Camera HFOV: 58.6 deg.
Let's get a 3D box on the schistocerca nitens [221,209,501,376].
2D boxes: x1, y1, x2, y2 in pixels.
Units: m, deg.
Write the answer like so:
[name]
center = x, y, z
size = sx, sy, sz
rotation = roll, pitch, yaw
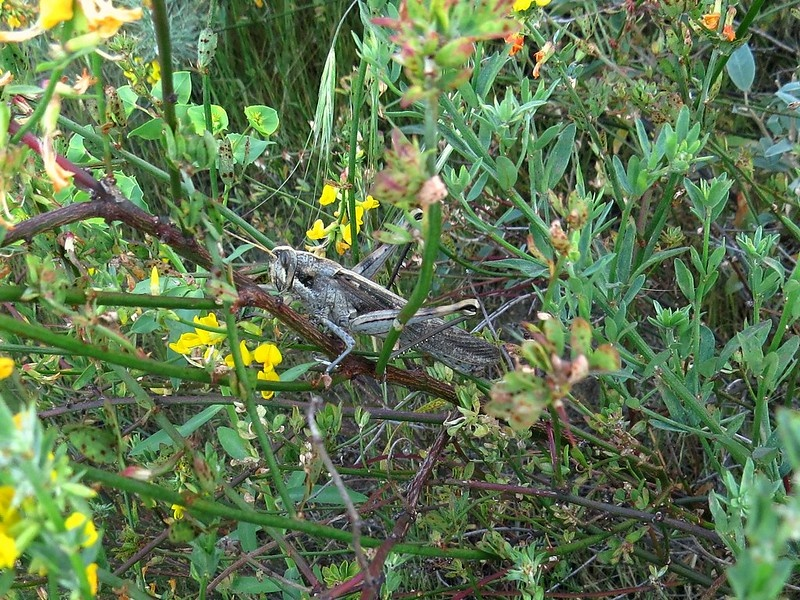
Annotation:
[schistocerca nitens]
center = -0.060, 0.016, 2.128
size = 0.780, 0.322, 0.441
rotation = 12, 15, -25
